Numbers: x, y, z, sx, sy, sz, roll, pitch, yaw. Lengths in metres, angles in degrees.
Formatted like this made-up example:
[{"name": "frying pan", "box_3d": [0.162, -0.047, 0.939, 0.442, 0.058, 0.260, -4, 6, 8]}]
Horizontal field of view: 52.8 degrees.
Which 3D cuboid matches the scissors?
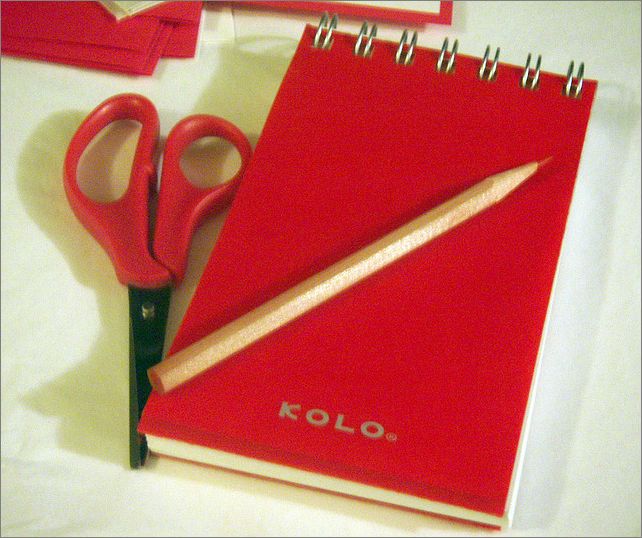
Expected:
[{"name": "scissors", "box_3d": [-0.156, 0.002, 0.592, 0.174, 0.054, 0.395, 1, 59, -11]}]
